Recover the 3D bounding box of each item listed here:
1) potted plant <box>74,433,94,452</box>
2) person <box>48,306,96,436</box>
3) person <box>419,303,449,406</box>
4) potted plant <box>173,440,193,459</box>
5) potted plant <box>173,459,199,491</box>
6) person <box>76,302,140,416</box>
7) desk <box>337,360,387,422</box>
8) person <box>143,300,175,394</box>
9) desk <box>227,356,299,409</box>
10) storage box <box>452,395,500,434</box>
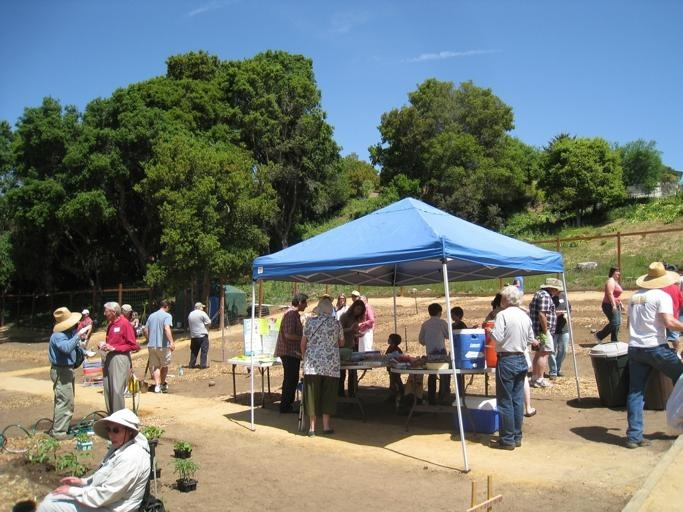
[{"bbox_3d":[-4.424,3.194,11.265,0.314,0.354,0.324,0,-4,38],"label":"potted plant"},{"bbox_3d":[-5.311,2.182,12.429,0.758,2.195,0.992,0,0,6],"label":"person"},{"bbox_3d":[1.861,1.932,12.896,0.662,2.287,0.602,3,4,35],"label":"person"},{"bbox_3d":[-2.482,3.033,10.297,0.327,0.279,0.304,7,-7,-38],"label":"potted plant"},{"bbox_3d":[-2.354,3.262,9.887,0.327,0.467,0.615,0,-2,-14],"label":"potted plant"},{"bbox_3d":[-4.243,1.877,12.227,0.631,2.011,0.866,-1,-1,32],"label":"person"},{"bbox_3d":[0.290,2.678,13.874,0.974,1.230,0.981,1,3,-38],"label":"desk"},{"bbox_3d":[-4.489,2.242,16.053,0.757,2.420,0.736,1,1,-22],"label":"person"},{"bbox_3d":[-2.075,2.718,14.861,1.402,1.426,1.451,2,1,4],"label":"desk"},{"bbox_3d":[2.502,2.884,11.823,0.657,0.703,0.644,-2,-2,23],"label":"storage box"}]
